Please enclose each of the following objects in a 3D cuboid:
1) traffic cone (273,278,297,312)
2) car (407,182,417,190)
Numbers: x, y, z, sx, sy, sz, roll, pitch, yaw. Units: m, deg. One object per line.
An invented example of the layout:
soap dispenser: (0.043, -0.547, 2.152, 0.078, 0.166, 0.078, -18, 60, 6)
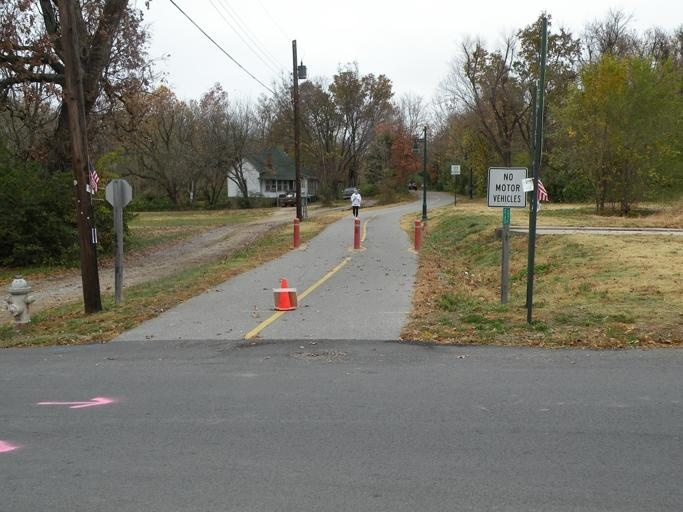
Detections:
traffic cone: (-1.285, 0.880, 19.138, 0.638, 0.808, 0.674, -2, 5, 6)
car: (11.264, -11.157, 130.619, 1.362, 1.237, 2.657, -1, 1, 0)
